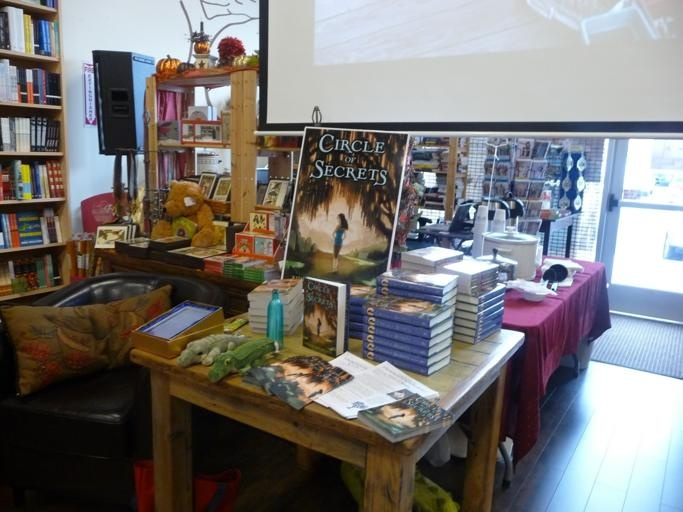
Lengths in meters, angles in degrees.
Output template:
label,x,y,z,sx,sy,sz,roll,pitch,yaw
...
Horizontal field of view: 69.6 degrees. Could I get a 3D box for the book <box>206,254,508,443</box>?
label,x,y,z,sx,sy,sz,roll,pitch,yaw
book,0.172,0.188,2.125,1.172,0.439,0.861,12,15,33

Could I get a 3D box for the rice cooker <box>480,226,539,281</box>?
label,x,y,z,sx,sy,sz,roll,pitch,yaw
rice cooker,1.028,-0.035,2.953,0.298,0.272,0.327,4,8,36

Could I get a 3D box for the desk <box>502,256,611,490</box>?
label,x,y,z,sx,sy,sz,roll,pitch,yaw
desk,1.264,0.697,2.893,0.568,1.041,0.981,9,15,23

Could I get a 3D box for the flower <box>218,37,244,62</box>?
label,x,y,z,sx,sy,sz,roll,pitch,yaw
flower,-0.819,-1.510,3.629,0.215,0.204,0.185,-1,11,1

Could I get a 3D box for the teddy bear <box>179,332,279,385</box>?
label,x,y,z,sx,sy,sz,roll,pitch,yaw
teddy bear,-0.384,0.350,1.731,0.344,0.099,0.228,-8,13,-31

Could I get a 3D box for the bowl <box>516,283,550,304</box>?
label,x,y,z,sx,sy,sz,roll,pitch,yaw
bowl,1.073,0.202,2.723,0.116,0.037,0.116,-1,14,0

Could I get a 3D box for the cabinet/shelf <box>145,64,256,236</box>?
label,x,y,z,sx,sy,sz,roll,pitch,yaw
cabinet/shelf,-1.123,-0.807,3.834,1.517,1.376,0.498,5,7,36

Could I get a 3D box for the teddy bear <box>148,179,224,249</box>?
label,x,y,z,sx,sy,sz,roll,pitch,yaw
teddy bear,-1.176,-0.304,3.746,0.554,0.503,0.397,9,19,25
